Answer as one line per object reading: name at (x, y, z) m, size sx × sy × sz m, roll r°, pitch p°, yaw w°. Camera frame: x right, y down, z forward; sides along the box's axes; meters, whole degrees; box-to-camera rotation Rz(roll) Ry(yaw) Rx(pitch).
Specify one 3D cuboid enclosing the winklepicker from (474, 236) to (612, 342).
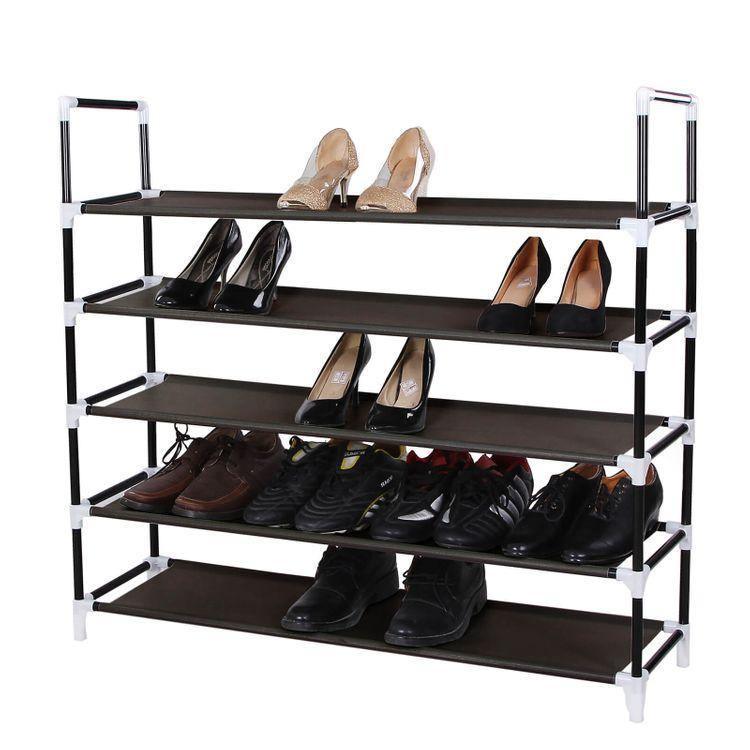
winklepicker at (0.503, -0.297, 2.350) m, size 0.345 × 0.194 × 0.432 m, roll 6°, pitch 18°, yaw 27°

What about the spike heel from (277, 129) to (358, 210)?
spike heel at (-0.200, -0.652, 2.536) m, size 0.156 × 0.227 × 0.448 m, roll 8°, pitch 23°, yaw 26°
